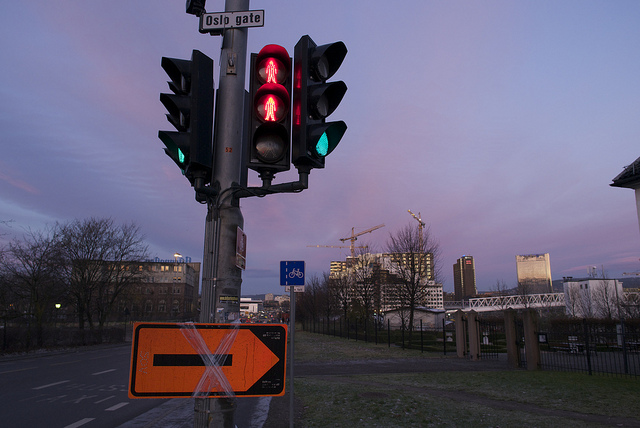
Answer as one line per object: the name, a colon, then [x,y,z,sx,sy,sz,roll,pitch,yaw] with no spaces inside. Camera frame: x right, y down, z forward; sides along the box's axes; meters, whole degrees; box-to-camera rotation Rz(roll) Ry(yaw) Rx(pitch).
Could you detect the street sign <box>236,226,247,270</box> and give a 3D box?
street sign: [-2.073,0.867,12.306,0.217,1.046,0.404,-1,-14,-2]
